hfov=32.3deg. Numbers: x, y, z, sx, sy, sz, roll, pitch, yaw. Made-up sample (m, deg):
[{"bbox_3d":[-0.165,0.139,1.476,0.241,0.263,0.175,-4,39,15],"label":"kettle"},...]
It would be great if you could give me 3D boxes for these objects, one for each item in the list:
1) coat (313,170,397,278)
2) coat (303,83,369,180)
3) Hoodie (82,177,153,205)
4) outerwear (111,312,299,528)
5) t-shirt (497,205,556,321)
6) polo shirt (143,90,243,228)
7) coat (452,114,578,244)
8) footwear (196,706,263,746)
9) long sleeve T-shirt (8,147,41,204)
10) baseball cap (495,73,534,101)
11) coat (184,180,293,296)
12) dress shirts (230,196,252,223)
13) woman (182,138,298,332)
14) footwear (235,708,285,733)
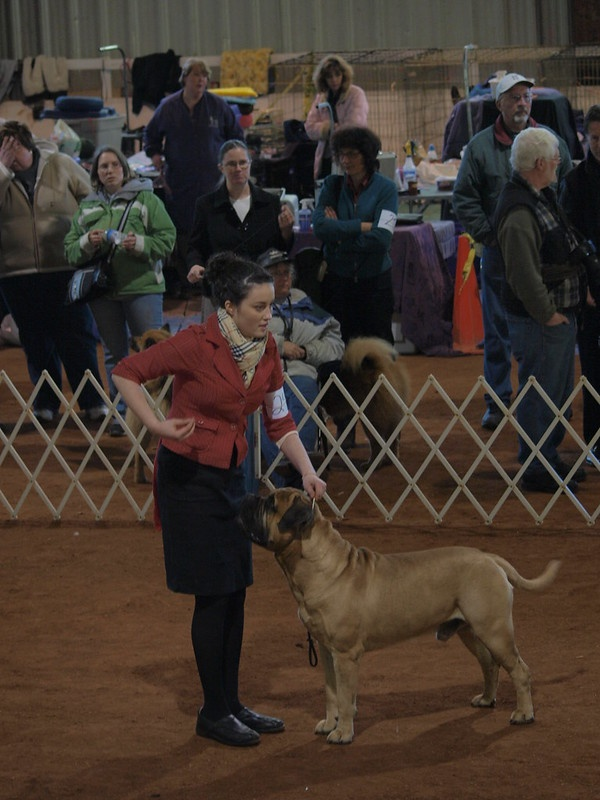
[{"bbox_3d":[0.370,-1.121,6.626,0.556,0.610,0.398,8,27,23],"label":"coat"},{"bbox_3d":[0.320,-2.465,9.861,0.437,1.030,0.504,9,15,-2],"label":"coat"},{"bbox_3d":[-1.190,-1.371,6.970,0.308,0.105,0.233,-2,-4,-33],"label":"Hoodie"},{"bbox_3d":[-0.265,-0.026,3.208,0.267,0.475,0.581,8,16,40],"label":"outerwear"},{"bbox_3d":[1.227,-0.745,5.543,0.285,0.662,0.509,-9,8,20],"label":"t-shirt"},{"bbox_3d":[-1.053,-2.233,9.706,0.969,1.250,0.314,-7,30,-19],"label":"polo shirt"},{"bbox_3d":[1.300,-1.467,6.877,0.849,0.747,0.407,-12,28,-30],"label":"coat"},{"bbox_3d":[-0.238,1.057,3.378,0.209,0.077,0.094,3,2,25],"label":"footwear"},{"bbox_3d":[-1.898,-1.581,7.260,0.267,0.270,0.320,-4,13,-3],"label":"long sleeve T-shirt"},{"bbox_3d":[1.337,-1.976,6.527,0.185,0.119,0.242,-14,9,-14],"label":"baseball cap"},{"bbox_3d":[-0.379,-1.032,6.573,0.672,0.648,0.374,-4,19,-6],"label":"coat"},{"bbox_3d":[-0.361,-1.186,6.437,0.127,0.145,0.059,-9,-5,-16],"label":"dress shirts"},{"bbox_3d":[-0.374,-0.803,6.594,0.707,1.471,0.533,-3,23,-6],"label":"woman"},{"bbox_3d":[-0.134,1.046,3.457,0.175,0.061,0.068,6,9,24],"label":"footwear"}]
